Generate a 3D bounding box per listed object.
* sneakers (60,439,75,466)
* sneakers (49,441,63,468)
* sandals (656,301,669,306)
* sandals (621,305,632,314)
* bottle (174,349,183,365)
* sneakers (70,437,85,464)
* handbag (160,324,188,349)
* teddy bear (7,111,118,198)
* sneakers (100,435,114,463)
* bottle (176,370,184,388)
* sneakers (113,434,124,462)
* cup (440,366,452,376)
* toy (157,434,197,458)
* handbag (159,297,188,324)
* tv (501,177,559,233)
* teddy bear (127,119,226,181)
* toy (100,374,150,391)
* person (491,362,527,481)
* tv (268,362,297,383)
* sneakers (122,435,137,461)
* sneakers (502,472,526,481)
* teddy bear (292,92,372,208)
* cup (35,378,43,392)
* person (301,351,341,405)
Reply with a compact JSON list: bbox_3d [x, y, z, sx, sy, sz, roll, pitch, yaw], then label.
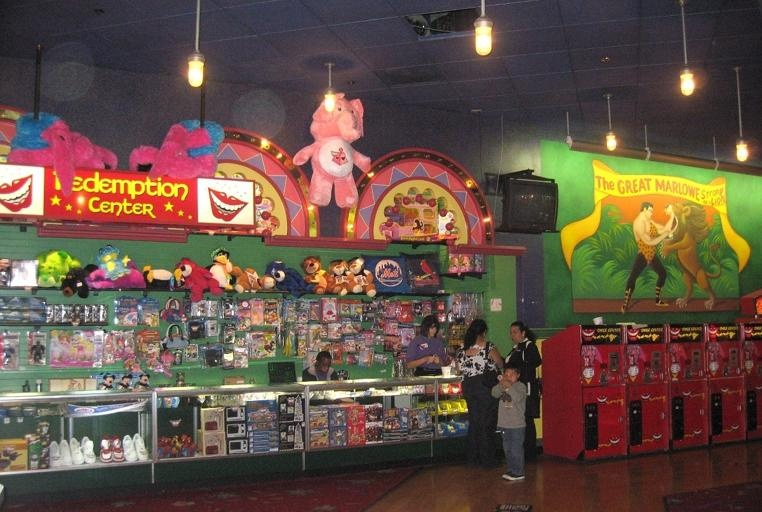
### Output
[{"bbox_3d":[-3.852,2.432,8.732,0.122,0.325,0.135,-8,-7,-36],"label":"sneakers"},{"bbox_3d":[-3.958,2.430,8.611,0.122,0.133,0.325,2,22,-29],"label":"sneakers"},{"bbox_3d":[5.429,0.927,13.682,0.247,0.162,0.093,-3,-2,2],"label":"sandals"},{"bbox_3d":[4.578,1.000,13.261,0.089,0.256,0.188,14,8,44],"label":"sandals"},{"bbox_3d":[-2.736,1.381,9.600,0.126,0.202,0.038,0,2,-16],"label":"bottle"},{"bbox_3d":[-3.733,2.427,8.693,0.125,0.347,0.139,-8,-31,-44],"label":"sneakers"},{"bbox_3d":[-2.809,1.097,9.558,0.385,0.327,0.144,1,3,-18],"label":"handbag"},{"bbox_3d":[-3.826,-1.226,8.395,1.193,1.020,0.701,1,2,4],"label":"teddy bear"},{"bbox_3d":[-3.408,2.404,8.809,0.129,0.140,0.333,2,36,-35],"label":"sneakers"},{"bbox_3d":[-2.690,1.655,9.499,0.167,0.236,0.154,1,1,0],"label":"bottle"},{"bbox_3d":[-3.274,2.410,8.822,0.118,0.323,0.131,-6,-30,-29],"label":"sneakers"},{"bbox_3d":[0.958,1.678,10.268,0.126,0.090,0.123,0,-10,0],"label":"cup"},{"bbox_3d":[-2.616,2.425,9.009,0.296,0.174,0.349,4,-6,-26],"label":"toy"},{"bbox_3d":[-2.784,0.730,9.557,0.360,0.309,0.342,2,2,-26],"label":"handbag"},{"bbox_3d":[2.466,-0.861,11.934,1.040,0.895,0.549,0,4,-19],"label":"tv"},{"bbox_3d":[-2.487,-1.323,8.699,1.113,0.772,0.507,0,2,-18],"label":"teddy bear"},{"bbox_3d":[-3.365,1.671,9.294,0.486,0.220,0.394,1,-4,-12],"label":"toy"},{"bbox_3d":[1.726,2.235,9.570,0.449,1.489,0.504,1,2,9],"label":"person"},{"bbox_3d":[-1.379,1.639,9.882,0.468,0.253,0.294,2,7,-16],"label":"tv"},{"bbox_3d":[-3.138,2.418,8.862,0.165,0.313,0.068,1,2,6],"label":"sneakers"},{"bbox_3d":[1.768,2.954,9.431,0.198,0.070,0.109,6,-12,-5],"label":"sneakers"},{"bbox_3d":[-0.727,-1.535,10.242,0.872,1.576,0.523,0,2,-11],"label":"teddy bear"},{"bbox_3d":[-4.384,1.664,9.084,0.079,0.130,0.091,0,2,-19],"label":"cup"},{"bbox_3d":[-0.861,1.717,9.846,0.547,1.057,0.406,4,-23,-14],"label":"person"}]
